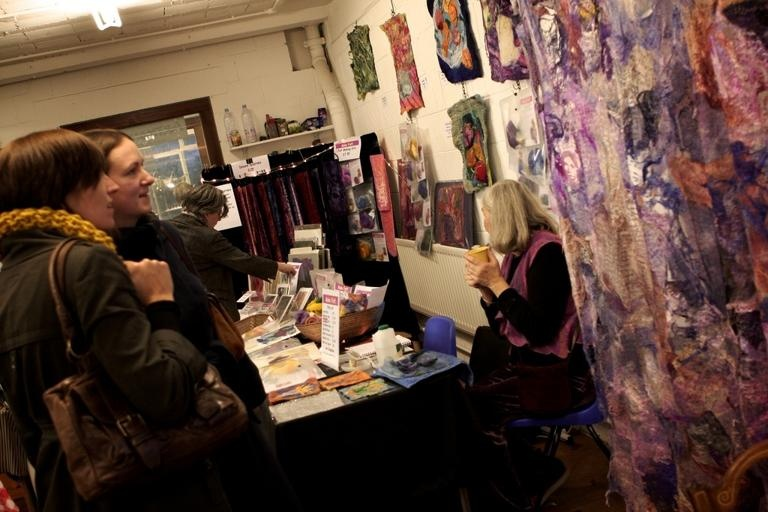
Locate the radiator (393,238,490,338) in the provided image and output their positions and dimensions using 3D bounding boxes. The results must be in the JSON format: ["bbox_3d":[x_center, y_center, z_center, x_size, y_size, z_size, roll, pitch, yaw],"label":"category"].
[{"bbox_3d":[0.449,0.260,4.265,0.048,0.540,1.002,-23,11,-17],"label":"radiator"}]

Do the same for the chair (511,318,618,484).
[{"bbox_3d":[0.913,0.747,2.636,0.310,0.424,0.293,-8,1,-5],"label":"chair"}]

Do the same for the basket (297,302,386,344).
[{"bbox_3d":[-0.273,0.421,3.104,0.310,0.099,0.305,-9,1,25],"label":"basket"}]

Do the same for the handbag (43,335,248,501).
[{"bbox_3d":[-0.676,0.439,1.495,0.209,0.503,0.501,-43,-19,27],"label":"handbag"}]

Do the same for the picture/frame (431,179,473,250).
[{"bbox_3d":[0.553,-0.338,4.357,0.030,0.533,0.730,0,2,33],"label":"picture/frame"}]

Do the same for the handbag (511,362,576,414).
[{"bbox_3d":[0.764,0.632,2.536,0.275,0.273,0.144,-1,-6,-12],"label":"handbag"}]

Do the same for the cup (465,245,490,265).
[{"bbox_3d":[0.465,-0.003,2.645,0.086,0.086,0.088,0,7,0],"label":"cup"}]
